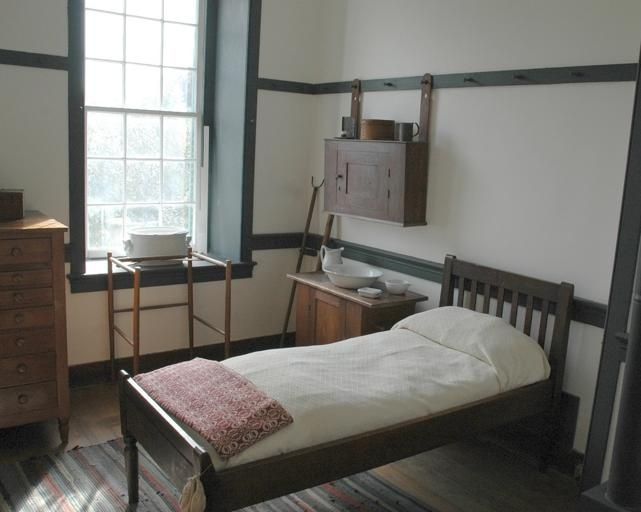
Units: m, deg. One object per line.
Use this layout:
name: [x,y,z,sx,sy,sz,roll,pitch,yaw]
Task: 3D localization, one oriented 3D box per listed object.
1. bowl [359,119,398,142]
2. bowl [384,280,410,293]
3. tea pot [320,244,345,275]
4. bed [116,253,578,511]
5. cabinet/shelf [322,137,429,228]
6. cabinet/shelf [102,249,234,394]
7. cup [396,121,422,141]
bowl: [0.384,-0.847,3.616,0.174,0.106,0.177,2,9,0]
bowl: [0.517,0.212,3.566,0.115,0.050,0.096,1,7,0]
tea pot: [0.073,0.045,3.949,0.201,0.224,0.157,1,7,9]
bed: [0.207,0.691,2.669,2.178,1.073,0.809,-5,13,-29]
cabinet/shelf: [0.369,-0.530,3.735,0.280,0.549,0.756,-12,18,-39]
cabinet/shelf: [-1.090,0.445,3.761,0.690,0.894,0.612,-4,14,-35]
cup: [0.572,-0.817,3.497,0.175,0.132,0.126,2,11,6]
